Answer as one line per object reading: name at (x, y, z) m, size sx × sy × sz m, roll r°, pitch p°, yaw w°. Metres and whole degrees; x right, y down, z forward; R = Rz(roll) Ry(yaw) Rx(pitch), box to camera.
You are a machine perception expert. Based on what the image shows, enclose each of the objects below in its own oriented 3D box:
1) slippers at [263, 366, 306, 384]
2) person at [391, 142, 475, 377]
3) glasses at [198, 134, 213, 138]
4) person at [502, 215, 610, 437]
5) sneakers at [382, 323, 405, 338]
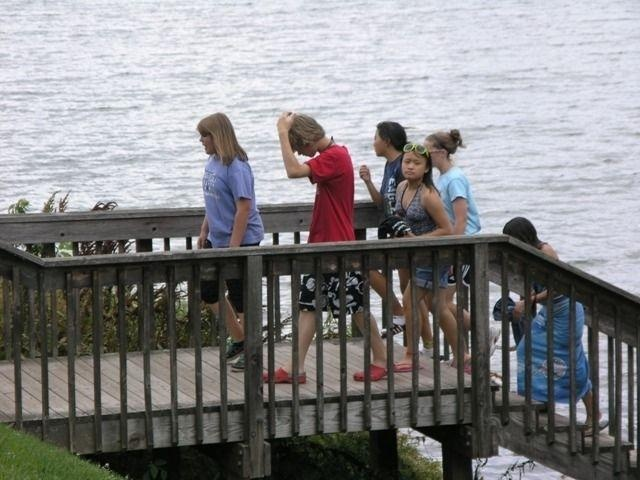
slippers at (-0.648, 2.385, 31.511) m, size 0.795 × 0.278 × 0.276 m, roll 3°, pitch -3°, yaw -6°
person at (1.892, 0.367, 31.669) m, size 1.212 × 4.048 × 1.064 m, roll -3°, pitch 4°, yaw 10°
glasses at (-2.019, -1.785, 31.622) m, size 0.114 × 0.080 × 0.102 m, roll -12°, pitch 17°, yaw -36°
person at (4.119, 1.552, 31.725) m, size 1.488 × 3.863 × 0.736 m, roll -4°, pitch 4°, yaw -3°
sneakers at (1.286, 1.636, 32.196) m, size 0.557 × 0.213 × 0.183 m, roll -11°, pitch 4°, yaw -30°
